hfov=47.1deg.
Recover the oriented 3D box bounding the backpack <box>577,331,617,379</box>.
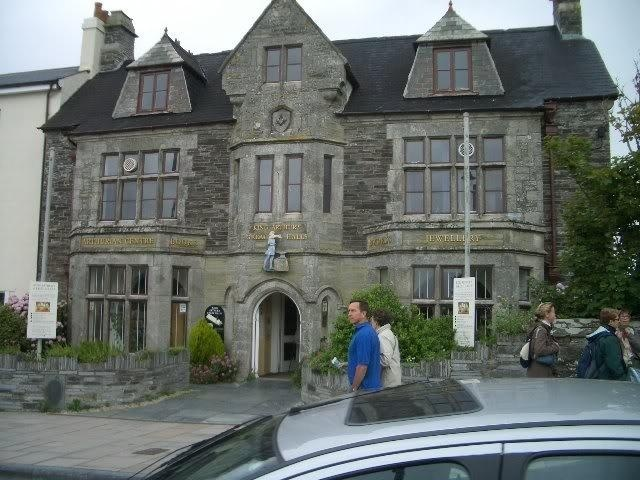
[{"bbox_3d":[4.392,1.819,11.583,0.467,0.710,0.761,13,-15,8],"label":"backpack"}]

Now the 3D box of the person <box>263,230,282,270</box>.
[{"bbox_3d":[-1.352,0.325,20.841,0.574,1.139,0.340,-8,0,-5],"label":"person"}]

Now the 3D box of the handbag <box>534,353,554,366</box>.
[{"bbox_3d":[3.699,1.927,11.934,0.399,0.185,0.217,-8,0,-40],"label":"handbag"}]
